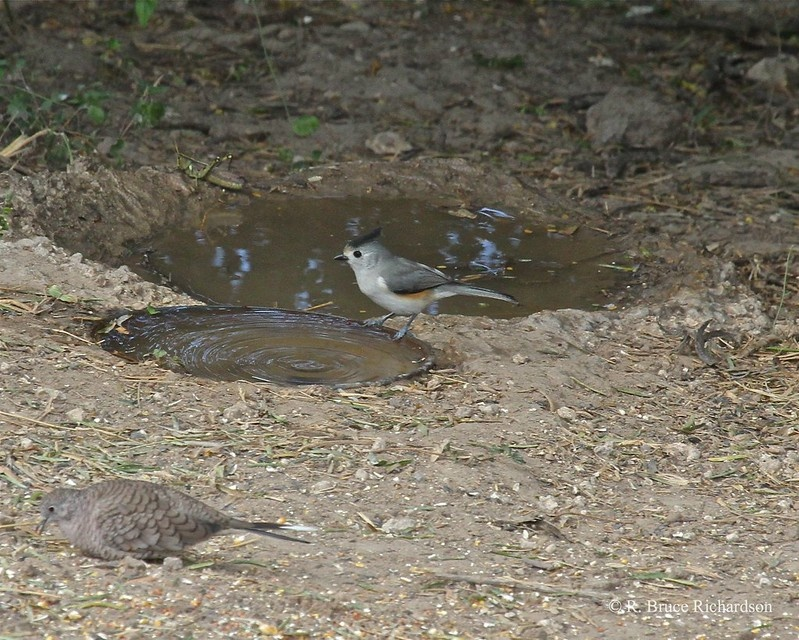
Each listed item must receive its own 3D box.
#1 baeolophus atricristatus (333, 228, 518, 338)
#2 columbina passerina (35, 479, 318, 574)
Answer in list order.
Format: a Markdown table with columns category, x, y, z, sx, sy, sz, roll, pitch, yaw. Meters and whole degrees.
| category | x | y | z | sx | sy | sz | roll | pitch | yaw |
| --- | --- | --- | --- | --- | --- | --- | --- | --- | --- |
| baeolophus atricristatus | 0.103 | -0.299 | 7.697 | 0.729 | 0.923 | 0.760 | -21 | 47 | -23 |
| columbina passerina | -1.397 | 1.124 | 5.224 | 1.168 | 0.414 | 0.484 | 14 | 39 | 19 |
